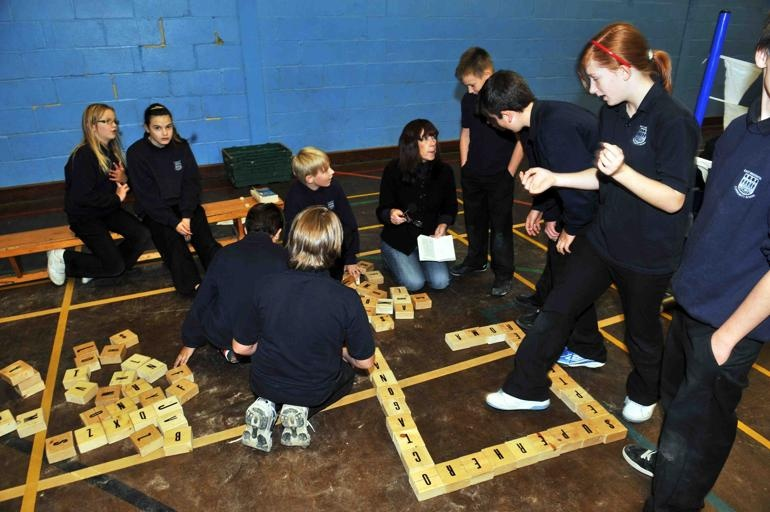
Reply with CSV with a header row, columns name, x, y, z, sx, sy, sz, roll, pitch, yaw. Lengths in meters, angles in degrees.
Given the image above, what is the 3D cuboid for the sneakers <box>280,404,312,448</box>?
name,x,y,z,sx,sy,sz,roll,pitch,yaw
sneakers,-0.793,1.522,4.441,0.261,0.415,0.199,1,16,0

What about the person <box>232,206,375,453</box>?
name,x,y,z,sx,sy,sz,roll,pitch,yaw
person,-0.760,0.710,4.340,1.207,1.968,0.657,-14,30,-19

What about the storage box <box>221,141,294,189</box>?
name,x,y,z,sx,sy,sz,roll,pitch,yaw
storage box,-2.437,-1.736,10.119,1.542,0.699,0.981,-12,33,-22

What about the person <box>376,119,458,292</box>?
name,x,y,z,sx,sy,sz,roll,pitch,yaw
person,0.389,-0.606,6.251,0.988,2.111,0.754,0,29,5

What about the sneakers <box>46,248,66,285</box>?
name,x,y,z,sx,sy,sz,roll,pitch,yaw
sneakers,-4.316,0.150,6.620,0.245,0.524,0.203,1,10,8

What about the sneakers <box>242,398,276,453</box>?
name,x,y,z,sx,sy,sz,roll,pitch,yaw
sneakers,-1.107,1.513,4.538,0.301,0.473,0.226,7,5,6

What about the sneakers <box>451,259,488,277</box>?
name,x,y,z,sx,sy,sz,roll,pitch,yaw
sneakers,1.137,0.154,6.866,0.569,0.207,0.193,-2,26,-11
